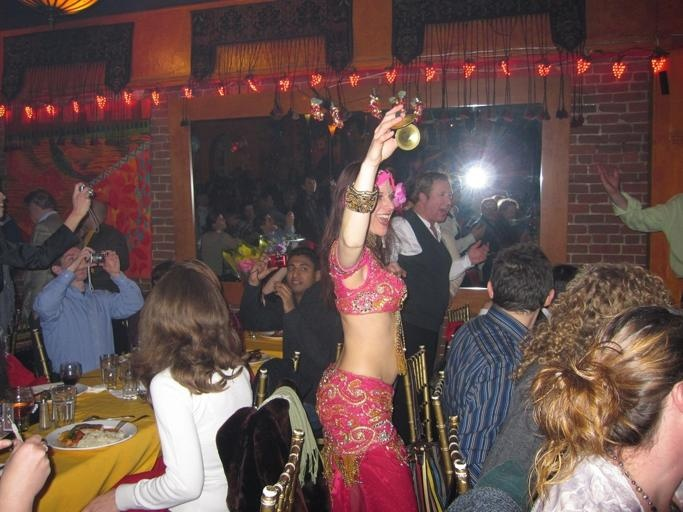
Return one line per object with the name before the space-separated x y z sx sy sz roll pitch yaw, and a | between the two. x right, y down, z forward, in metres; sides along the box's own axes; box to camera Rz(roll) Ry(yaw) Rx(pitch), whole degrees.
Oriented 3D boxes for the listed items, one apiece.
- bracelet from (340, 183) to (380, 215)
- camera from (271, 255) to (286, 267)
bracelet | 0.093 -0.248 2.898 0.108 0.102 0.139 0 7 -4
camera | -0.467 0.033 4.864 0.138 0.082 0.096 3 -2 1
